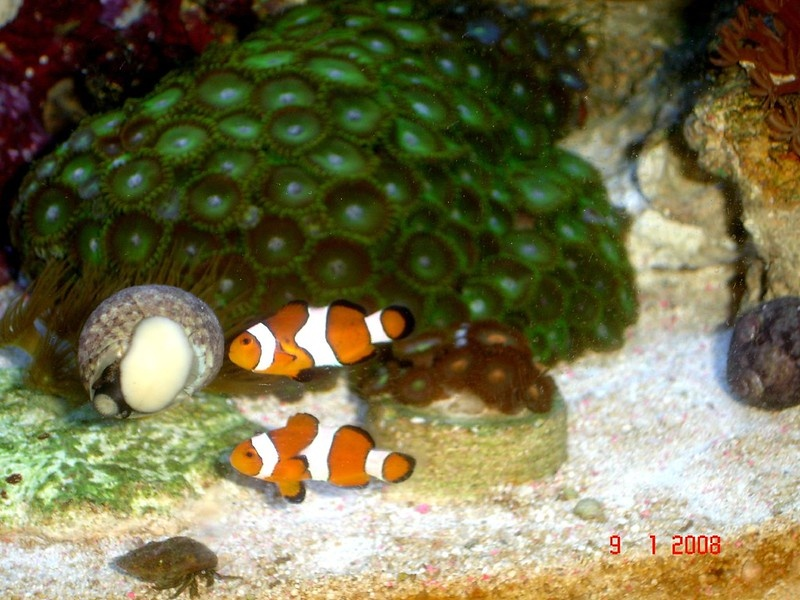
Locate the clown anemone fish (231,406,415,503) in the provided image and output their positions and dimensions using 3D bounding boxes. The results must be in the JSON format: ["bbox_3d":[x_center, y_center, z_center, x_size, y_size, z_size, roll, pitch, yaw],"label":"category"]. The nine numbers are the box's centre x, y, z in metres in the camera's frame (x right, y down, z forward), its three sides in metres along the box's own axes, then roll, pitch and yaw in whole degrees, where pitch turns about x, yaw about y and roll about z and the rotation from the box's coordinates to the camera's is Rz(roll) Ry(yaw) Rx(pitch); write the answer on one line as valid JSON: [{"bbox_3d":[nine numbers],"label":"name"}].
[{"bbox_3d":[-0.441,0.887,5.109,1.020,0.533,0.225,4,23,-9],"label":"clown anemone fish"}]

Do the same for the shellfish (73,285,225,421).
[{"bbox_3d":[-1.445,0.288,5.141,0.641,0.388,0.831,38,72,17],"label":"shellfish"}]
